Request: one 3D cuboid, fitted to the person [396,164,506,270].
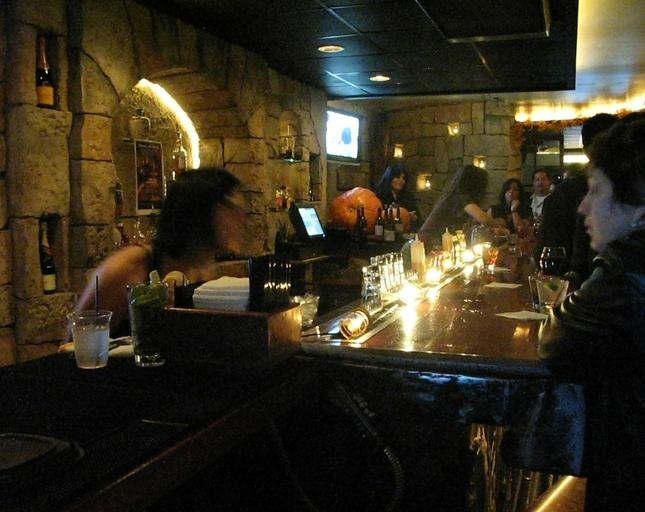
[{"bbox_3d":[1.214,-0.128,5.165,0.751,1.448,0.645,11,10,4],"label":"person"}]

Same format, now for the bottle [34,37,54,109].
[{"bbox_3d":[-1.752,-1.165,3.410,0.093,0.453,0.141,-3,6,-14],"label":"bottle"}]

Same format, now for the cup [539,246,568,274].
[{"bbox_3d":[1.122,0.018,2.630,0.137,0.173,0.132,-1,0,0],"label":"cup"}]

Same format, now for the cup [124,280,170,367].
[{"bbox_3d":[-0.539,0.209,1.694,0.119,0.247,0.150,-4,6,-18],"label":"cup"}]

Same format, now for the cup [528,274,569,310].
[{"bbox_3d":[0.976,0.151,2.396,0.174,0.156,0.187,2,-7,0],"label":"cup"}]

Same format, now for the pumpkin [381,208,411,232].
[{"bbox_3d":[1.008,-0.511,7.209,0.360,0.346,0.363,-1,5,-1],"label":"pumpkin"}]

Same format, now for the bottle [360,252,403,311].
[{"bbox_3d":[0.316,0.107,2.652,0.101,0.221,0.519,2,10,20],"label":"bottle"}]

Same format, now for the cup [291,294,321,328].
[{"bbox_3d":[-0.069,0.218,2.148,0.075,0.117,0.113,1,6,23],"label":"cup"}]

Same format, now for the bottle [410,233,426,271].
[{"bbox_3d":[0.552,-0.007,3.125,0.084,0.202,0.220,-1,6,9],"label":"bottle"}]

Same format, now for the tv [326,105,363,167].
[{"bbox_3d":[0.329,-1.871,8.420,0.270,0.727,1.222,0,6,17],"label":"tv"}]

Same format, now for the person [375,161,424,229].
[{"bbox_3d":[1.182,-0.796,8.178,0.790,1.075,0.603,0,-16,30],"label":"person"}]

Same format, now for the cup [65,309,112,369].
[{"bbox_3d":[-0.685,0.236,1.666,0.147,0.210,0.186,0,-1,2],"label":"cup"}]

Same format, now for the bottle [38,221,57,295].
[{"bbox_3d":[-1.785,0.001,3.512,0.088,0.466,0.109,-5,7,-28],"label":"bottle"}]

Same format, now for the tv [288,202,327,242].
[{"bbox_3d":[-0.197,-0.401,6.337,0.188,0.518,0.535,-21,-10,21],"label":"tv"}]

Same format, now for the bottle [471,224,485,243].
[{"bbox_3d":[1.250,-0.163,4.291,0.090,0.159,0.417,-1,5,9],"label":"bottle"}]
